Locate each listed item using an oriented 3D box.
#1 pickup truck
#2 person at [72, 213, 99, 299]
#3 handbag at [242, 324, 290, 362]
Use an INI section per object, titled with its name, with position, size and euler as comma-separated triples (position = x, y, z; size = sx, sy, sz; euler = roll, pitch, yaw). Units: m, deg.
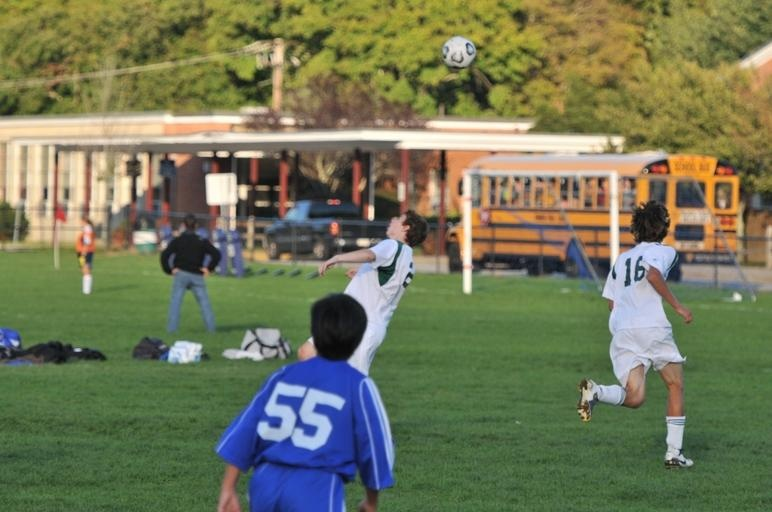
[pickup truck]
position = -2.728, -1.157, 72.705
size = 4.367, 1.918, 2.485
euler = 2, 2, 39
[person]
position = -11.302, -0.136, 65.866
size = 0.765, 2.900, 1.308
euler = 0, 1, -11
[handbag]
position = -4.012, 2.892, 59.326
size = 1.229, 1.102, 0.579
euler = 7, 33, -6
